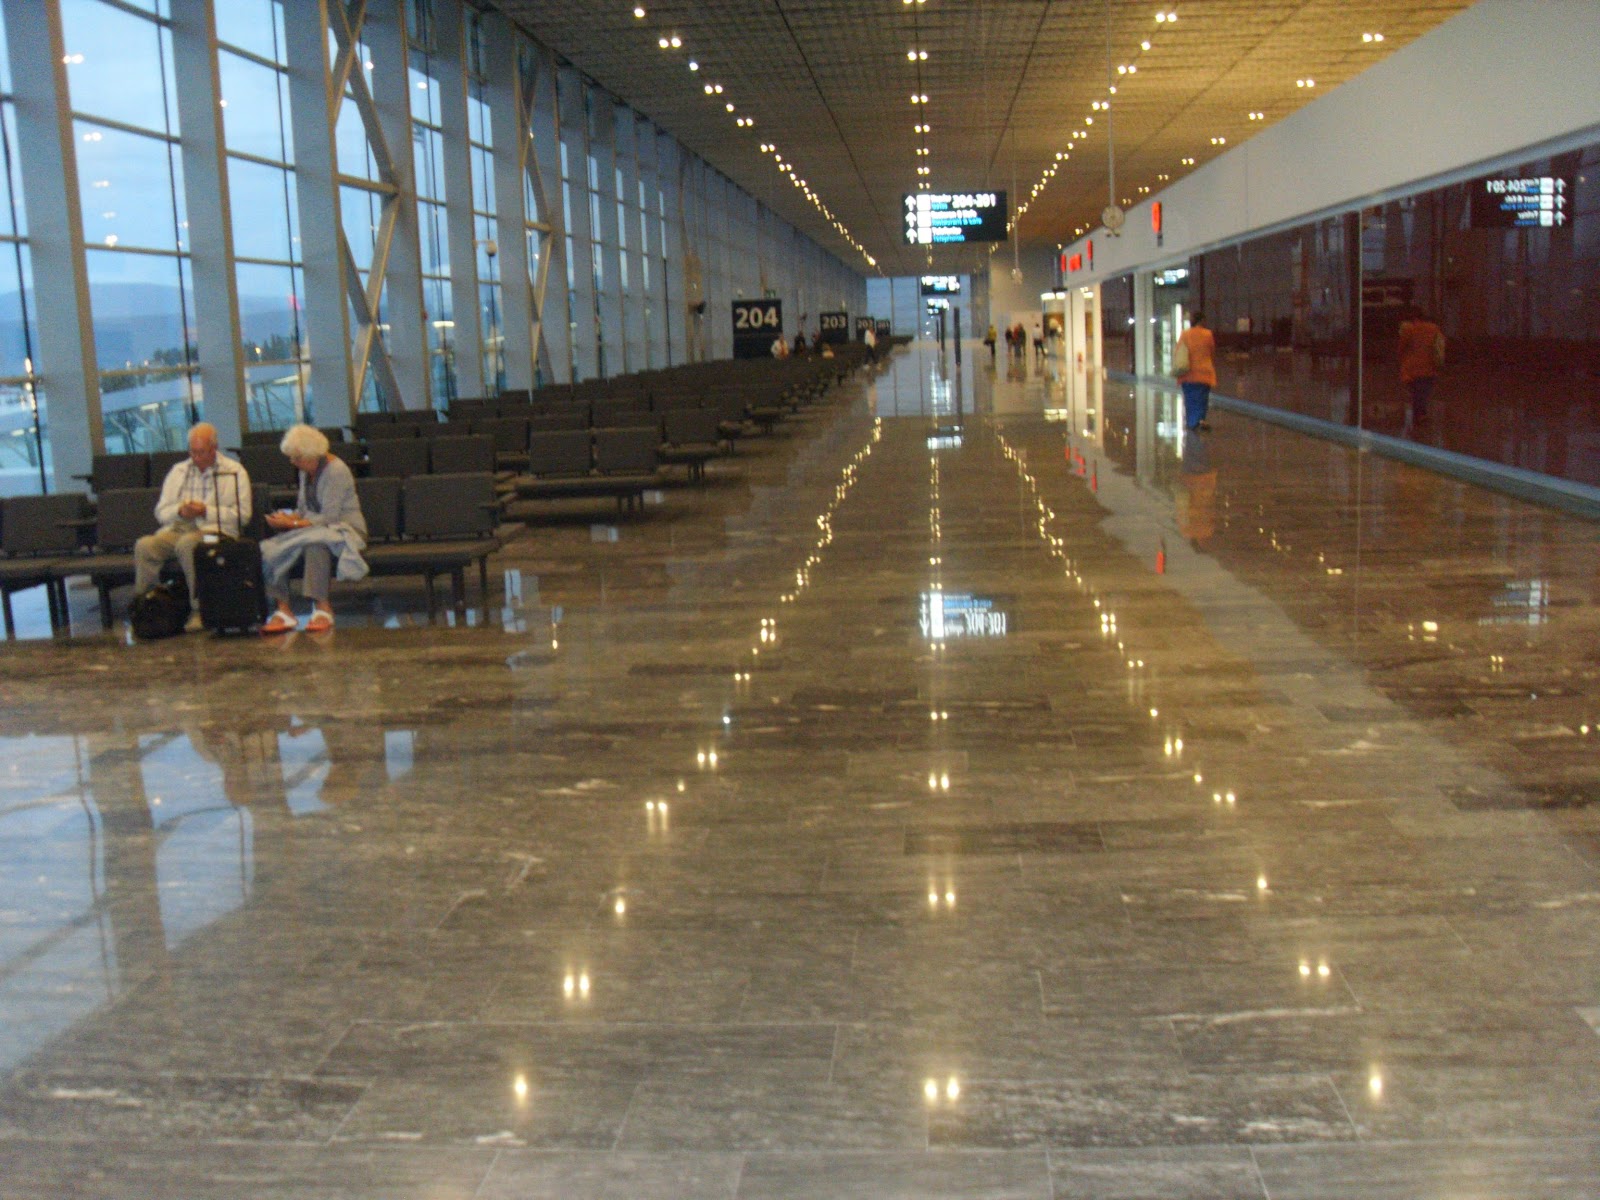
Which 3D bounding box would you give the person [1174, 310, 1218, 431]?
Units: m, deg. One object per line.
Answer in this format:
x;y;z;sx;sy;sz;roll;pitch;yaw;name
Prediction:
5.418;-3.138;20.459;0.502;1.641;0.981;2;15;13;person

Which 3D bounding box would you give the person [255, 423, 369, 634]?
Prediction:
-3.331;-0.491;10.085;0.718;1.368;1.363;-6;15;-18;person

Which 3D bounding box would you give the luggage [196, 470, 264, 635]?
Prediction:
-3.776;-0.293;9.690;0.339;0.969;0.218;-4;5;-8;luggage

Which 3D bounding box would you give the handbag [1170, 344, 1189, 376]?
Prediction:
5.155;-3.259;20.204;0.164;0.416;0.244;-15;19;-43;handbag

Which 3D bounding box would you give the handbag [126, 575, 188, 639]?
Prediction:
-4.175;0.085;9.724;0.398;0.416;0.292;4;-4;2;handbag
